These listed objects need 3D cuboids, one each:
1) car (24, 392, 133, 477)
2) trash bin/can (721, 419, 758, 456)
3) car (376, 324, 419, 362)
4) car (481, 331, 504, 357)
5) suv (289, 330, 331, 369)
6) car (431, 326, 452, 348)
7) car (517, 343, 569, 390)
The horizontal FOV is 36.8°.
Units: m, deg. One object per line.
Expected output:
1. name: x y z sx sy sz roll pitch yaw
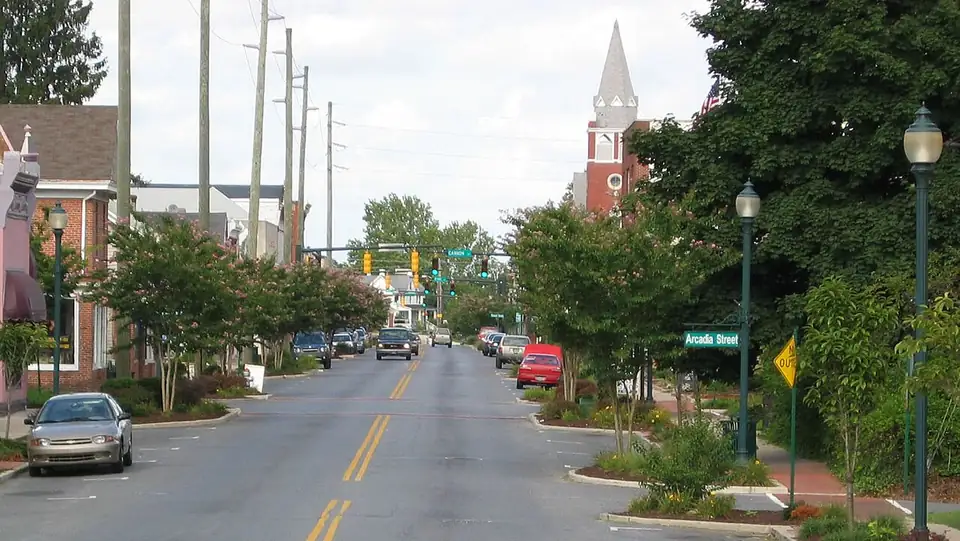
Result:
1. car: -13.743 5.729 50.067 3.391 2.828 1.841 2 -4 -19
2. trash bin/can: 9.026 5.939 52.008 0.885 0.862 0.932 5 -8 0
3. car: -5.940 5.236 103.224 2.647 2.442 5.290 1 -4 -4
4. car: 1.018 5.721 111.519 1.526 1.388 3.482 0 -6 -3
5. suv: -10.614 4.987 93.338 1.661 1.719 3.059 -1 -11 -3
6. car: -3.681 6.670 142.702 1.497 1.382 3.377 0 -6 -3
7. car: 3.253 5.111 77.011 2.228 2.342 3.066 0 -4 8
